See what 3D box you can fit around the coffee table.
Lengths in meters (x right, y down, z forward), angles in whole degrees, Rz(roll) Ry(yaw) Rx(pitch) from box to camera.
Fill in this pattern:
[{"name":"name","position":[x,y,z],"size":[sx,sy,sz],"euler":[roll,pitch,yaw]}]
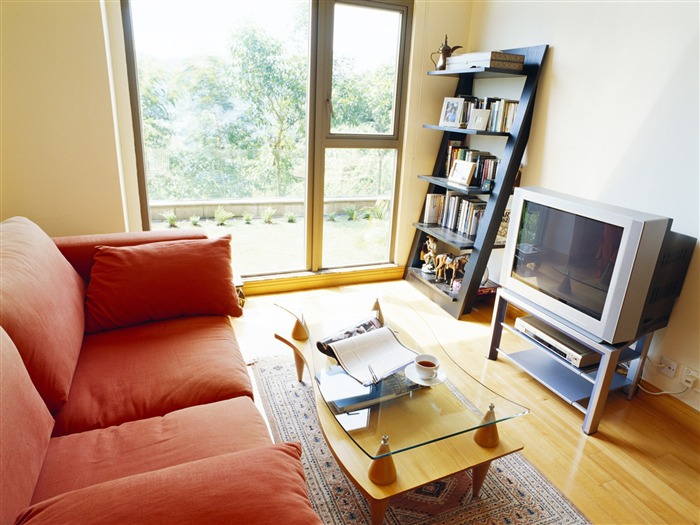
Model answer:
[{"name":"coffee table","position":[0.269,0.545,2.226],"size":[0.674,0.533,1.036],"euler":[-14,35,-25]}]

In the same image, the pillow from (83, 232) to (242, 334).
[{"name":"pillow","position":[-1.041,0.124,2.695],"size":[0.522,0.195,0.357],"euler":[-7,54,-19]}]

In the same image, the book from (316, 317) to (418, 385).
[{"name":"book","position":[0.120,0.470,2.545],"size":[0.307,0.077,0.289],"euler":[-17,37,-33]}]

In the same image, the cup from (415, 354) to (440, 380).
[{"name":"cup","position":[0.378,0.515,2.455],"size":[0.095,0.084,0.116],"euler":[9,28,10]}]
